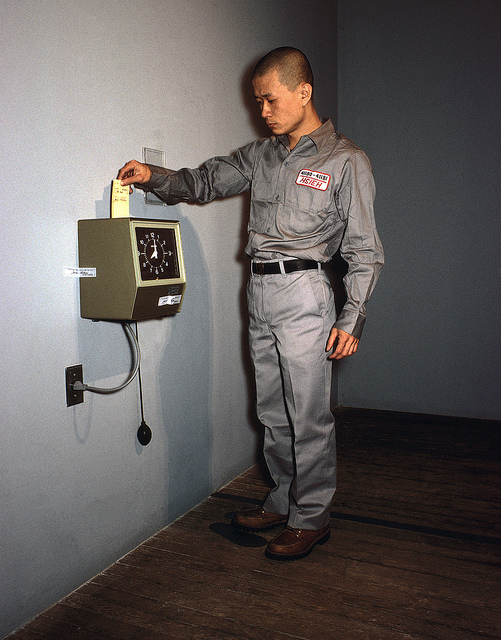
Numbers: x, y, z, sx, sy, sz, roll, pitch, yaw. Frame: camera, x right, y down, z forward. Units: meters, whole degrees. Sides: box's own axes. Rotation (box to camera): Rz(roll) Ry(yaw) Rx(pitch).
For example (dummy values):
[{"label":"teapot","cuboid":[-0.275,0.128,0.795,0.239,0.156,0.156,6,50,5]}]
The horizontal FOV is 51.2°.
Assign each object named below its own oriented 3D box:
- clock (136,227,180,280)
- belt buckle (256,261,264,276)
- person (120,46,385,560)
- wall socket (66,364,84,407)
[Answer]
[{"label":"clock","cuboid":[-0.284,-0.202,1.593,0.020,0.192,0.268,-3,7,24]},{"label":"belt buckle","cuboid":[0.039,-0.189,1.905,0.015,0.043,0.029,-2,5,-41]},{"label":"person","cuboid":[0.013,-0.002,2.036,0.941,1.881,0.472,4,13,17]},{"label":"wall socket","cuboid":[-0.521,0.200,1.577,0.064,0.116,0.010,-11,-12,19]}]
